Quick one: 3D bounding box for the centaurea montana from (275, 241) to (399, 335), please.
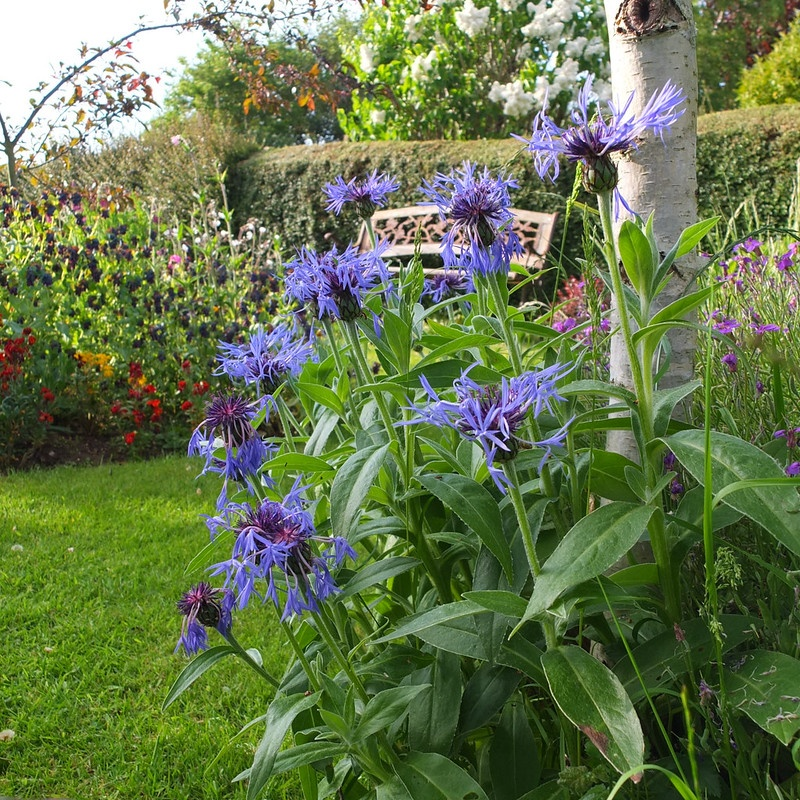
[{"bbox_3d":[-0.116,-0.216,1.779,0.205,0.144,0.153,-3,7,15],"label":"centaurea montana"}]

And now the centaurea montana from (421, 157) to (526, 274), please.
[{"bbox_3d":[0.151,-0.281,1.638,0.114,0.190,0.116,-13,14,-13],"label":"centaurea montana"}]

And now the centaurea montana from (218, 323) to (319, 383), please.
[{"bbox_3d":[-0.245,-0.058,1.870,0.128,0.083,0.146,5,32,17],"label":"centaurea montana"}]

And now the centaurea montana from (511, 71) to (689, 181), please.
[{"bbox_3d":[0.314,-0.431,1.532,0.208,0.105,0.248,-9,4,-8],"label":"centaurea montana"}]
